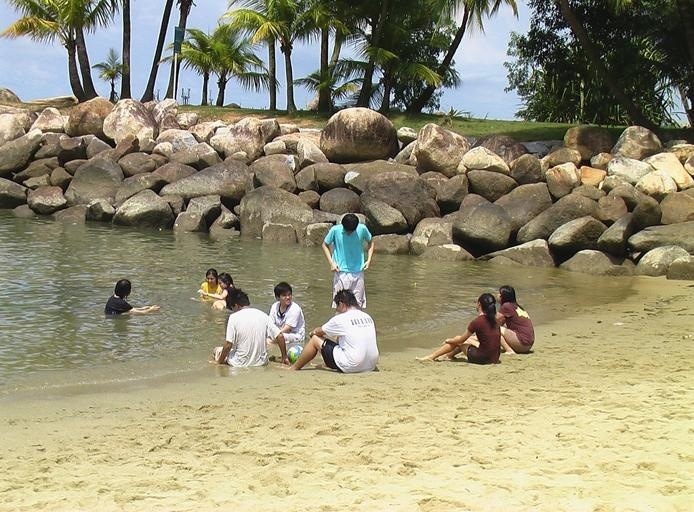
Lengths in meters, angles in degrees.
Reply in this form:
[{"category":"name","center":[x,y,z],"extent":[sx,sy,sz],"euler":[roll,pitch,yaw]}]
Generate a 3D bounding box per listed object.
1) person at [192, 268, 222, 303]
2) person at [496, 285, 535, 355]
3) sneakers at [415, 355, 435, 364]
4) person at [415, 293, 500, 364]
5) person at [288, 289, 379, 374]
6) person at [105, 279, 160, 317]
[{"category":"person","center":[-2.617,0.658,14.324],"extent":[0.608,0.748,0.553],"euler":[-7,10,-9]},{"category":"person","center":[2.556,1.024,11.553],"extent":[0.708,1.071,0.681],"euler":[9,-14,-25]},{"category":"sneakers","center":[1.172,1.546,11.061],"extent":[0.308,0.134,0.091],"euler":[1,-2,15]},{"category":"person","center":[1.744,1.127,11.310],"extent":[0.659,0.935,1.328],"euler":[8,-10,-42]},{"category":"person","center":[-0.066,1.150,10.916],"extent":[1.362,1.195,1.125],"euler":[2,-3,28]},{"category":"person","center":[-3.846,0.706,13.242],"extent":[0.759,0.627,0.877],"euler":[6,13,29]}]
